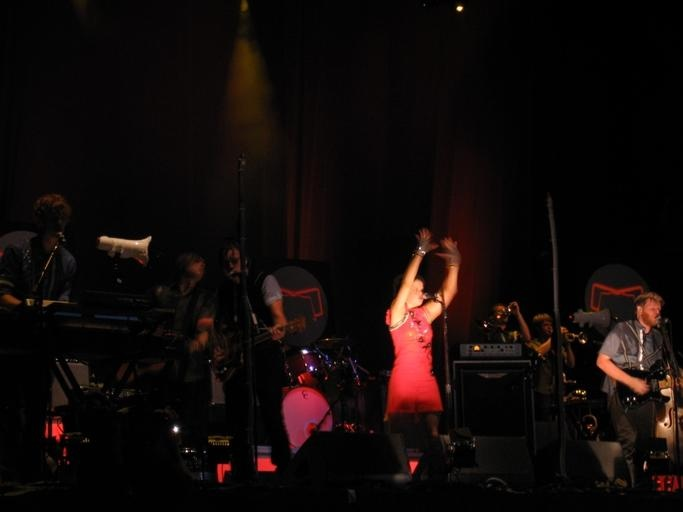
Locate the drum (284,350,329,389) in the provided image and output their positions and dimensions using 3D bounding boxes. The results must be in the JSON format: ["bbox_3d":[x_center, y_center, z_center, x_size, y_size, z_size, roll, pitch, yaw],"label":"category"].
[{"bbox_3d":[-0.427,1.360,9.174,0.449,0.290,0.460,-6,-36,-4],"label":"drum"}]

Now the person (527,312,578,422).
[{"bbox_3d":[2.411,1.207,8.699,0.553,1.323,2.117,0,-10,14],"label":"person"}]

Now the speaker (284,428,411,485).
[{"bbox_3d":[0.120,1.562,5.850,0.839,0.393,0.294,2,-10,-1],"label":"speaker"}]

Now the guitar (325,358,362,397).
[{"bbox_3d":[0.019,1.446,9.124,0.245,0.458,0.454,11,-13,-42],"label":"guitar"}]

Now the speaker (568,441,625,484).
[{"bbox_3d":[2.244,1.804,6.543,0.428,0.405,0.116,3,-11,0],"label":"speaker"}]

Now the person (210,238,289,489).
[{"bbox_3d":[-0.812,0.900,6.778,0.623,2.092,0.880,6,-10,-22],"label":"person"}]

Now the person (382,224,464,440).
[{"bbox_3d":[0.838,0.790,7.809,0.694,2.060,0.631,3,-9,-5],"label":"person"}]
